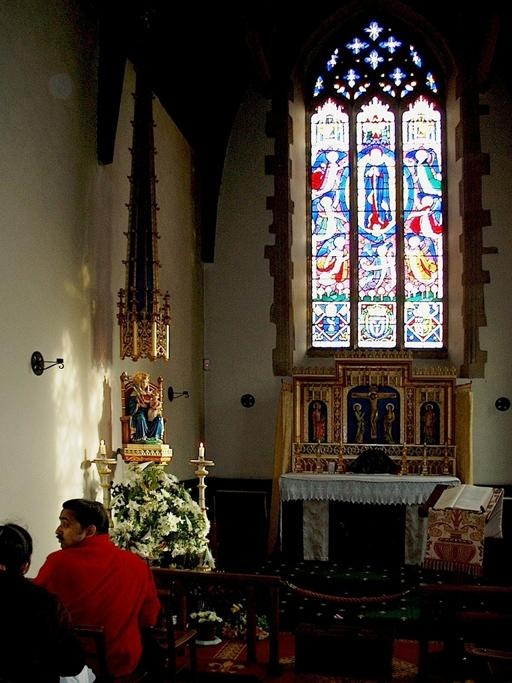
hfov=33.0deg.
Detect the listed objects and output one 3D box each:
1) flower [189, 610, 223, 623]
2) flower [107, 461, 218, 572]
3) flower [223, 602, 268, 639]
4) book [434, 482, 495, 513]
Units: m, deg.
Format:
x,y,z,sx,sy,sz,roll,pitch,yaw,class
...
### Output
x,y,z,sx,sy,sz,roll,pitch,yaw,class
-0.347,1.969,6.207,0.137,0.053,0.137,-3,-11,42,flower
-0.793,1.154,6.040,0.648,0.621,0.679,16,-11,-32,flower
-0.109,2.159,6.626,0.338,0.276,0.295,22,-19,-36,flower
1.363,1.024,5.648,0.384,0.168,0.546,-2,-9,14,book
